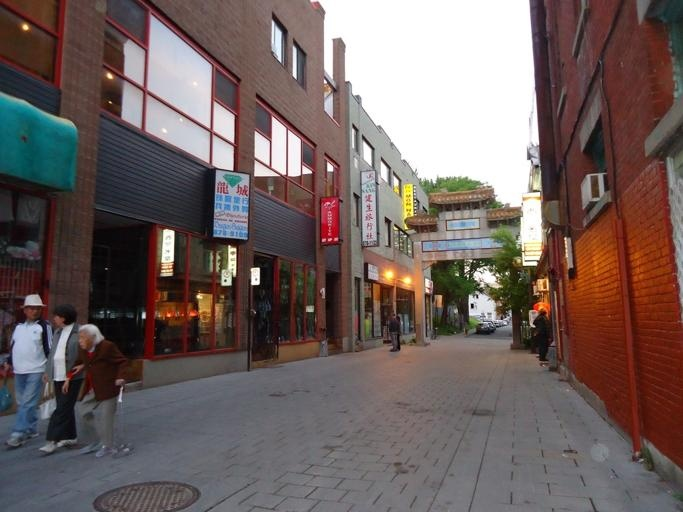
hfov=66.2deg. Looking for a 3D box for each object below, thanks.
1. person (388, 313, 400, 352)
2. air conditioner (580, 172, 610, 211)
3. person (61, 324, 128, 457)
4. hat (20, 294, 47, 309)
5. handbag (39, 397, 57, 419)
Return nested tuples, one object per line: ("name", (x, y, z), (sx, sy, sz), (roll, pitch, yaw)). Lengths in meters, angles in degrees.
("person", (2.721, 3.992, 26.626), (0.498, 1.659, 1.652), (0, -2, 4))
("air conditioner", (4.757, -1.252, 9.809), (0.319, 0.536, 0.658), (-3, -1, 11))
("person", (-3.843, 2.103, 8.491), (1.028, 1.996, 1.349), (0, -2, -6))
("hat", (-5.145, 0.787, 8.689), (0.502, 0.219, 0.381), (-12, -13, 40))
("handbag", (-4.614, 2.409, 8.213), (0.226, 0.309, 0.223), (-2, -3, 42))
